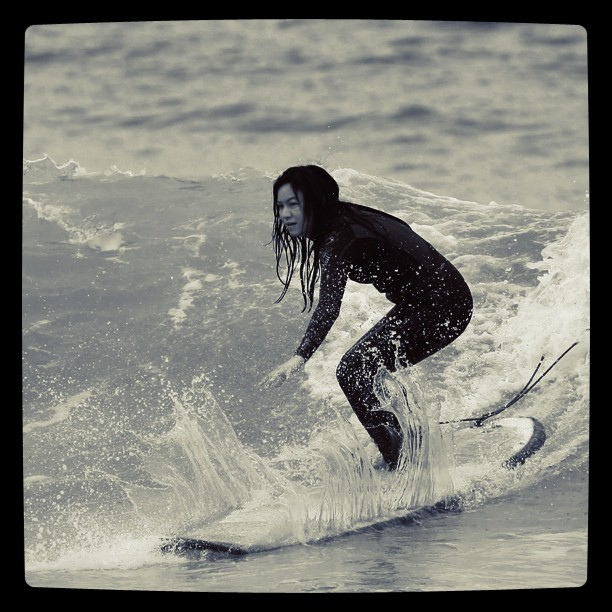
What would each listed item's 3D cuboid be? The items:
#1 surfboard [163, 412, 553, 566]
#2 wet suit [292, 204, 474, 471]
[{"bbox_3d":[0.313,0.915,6.009,1.596,0.180,0.370,-14,39,-13],"label":"surfboard"},{"bbox_3d":[0.383,0.176,5.914,0.820,1.227,0.292,2,11,4],"label":"wet suit"}]
